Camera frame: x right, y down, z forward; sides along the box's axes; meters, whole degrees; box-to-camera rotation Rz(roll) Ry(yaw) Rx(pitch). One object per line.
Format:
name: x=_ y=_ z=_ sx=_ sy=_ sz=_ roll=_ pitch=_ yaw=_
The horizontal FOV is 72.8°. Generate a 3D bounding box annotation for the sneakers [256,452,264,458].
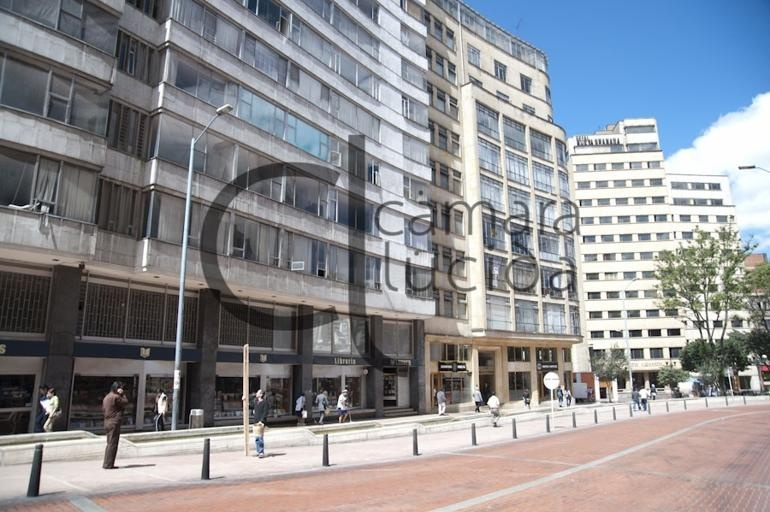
sneakers: x=-5.378 y=8.660 z=22.605 sx=0.134 sy=0.149 sz=0.348 roll=-2 pitch=-18 yaw=11
